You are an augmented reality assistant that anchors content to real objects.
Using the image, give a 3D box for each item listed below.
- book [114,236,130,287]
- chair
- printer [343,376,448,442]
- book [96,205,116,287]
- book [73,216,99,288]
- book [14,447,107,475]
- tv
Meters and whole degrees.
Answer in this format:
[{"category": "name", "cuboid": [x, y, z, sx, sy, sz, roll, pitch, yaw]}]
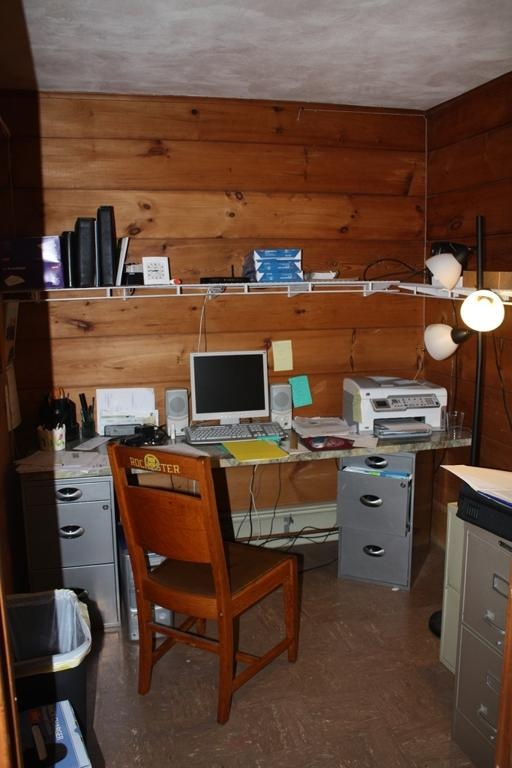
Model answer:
[{"category": "book", "cuboid": [-0.565, -0.506, 2.350, 0.025, 0.228, 0.176, 7, 17, -12]}, {"category": "chair", "cuboid": [-0.158, 0.546, 1.763, 0.439, 0.819, 0.502, 7, 13, 43]}, {"category": "printer", "cuboid": [0.594, 0.068, 2.559, 0.315, 0.204, 0.293, 0, 5, -11]}, {"category": "book", "cuboid": [-0.617, -0.559, 2.316, 0.070, 0.318, 0.117, -1, 6, -3]}, {"category": "book", "cuboid": [-0.683, -0.521, 2.251, 0.090, 0.267, 0.063, -3, 7, -21]}, {"category": "book", "cuboid": [-0.747, 0.309, 2.168, 0.332, 0.056, 0.279, -3, 7, -19]}, {"category": "tv", "cuboid": [-0.129, 0.009, 2.565, 0.314, 0.296, 0.063, -2, 0, -16]}]
